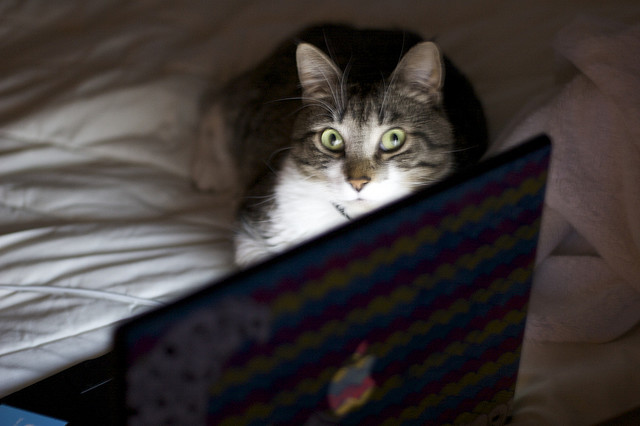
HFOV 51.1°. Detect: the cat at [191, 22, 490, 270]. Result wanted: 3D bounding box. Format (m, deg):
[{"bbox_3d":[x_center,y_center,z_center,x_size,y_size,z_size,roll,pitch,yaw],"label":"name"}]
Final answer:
[{"bbox_3d":[0.029,-0.185,1.503,0.583,0.399,0.809,0,35,3],"label":"cat"}]
